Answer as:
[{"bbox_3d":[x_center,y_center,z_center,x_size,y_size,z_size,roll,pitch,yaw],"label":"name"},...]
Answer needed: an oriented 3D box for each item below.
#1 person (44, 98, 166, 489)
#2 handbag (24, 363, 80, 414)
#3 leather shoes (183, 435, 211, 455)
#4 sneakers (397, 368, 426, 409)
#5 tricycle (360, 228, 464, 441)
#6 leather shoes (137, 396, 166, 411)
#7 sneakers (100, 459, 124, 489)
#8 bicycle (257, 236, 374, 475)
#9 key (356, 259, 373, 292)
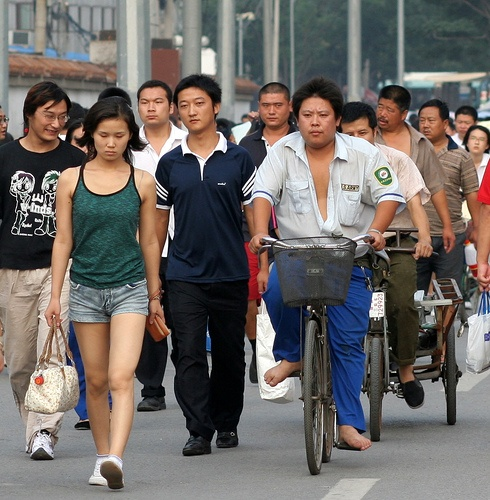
[{"bbox_3d":[-0.722,0.191,5.812,0.521,1.874,0.814,0,1,4],"label":"person"},{"bbox_3d":[-0.932,0.638,5.923,0.186,0.317,0.311,1,5,22],"label":"handbag"},{"bbox_3d":[-0.267,1.069,6.513,0.065,0.087,0.191,-2,-10,21],"label":"leather shoes"},{"bbox_3d":[1.027,0.844,7.347,0.139,0.119,0.397,-21,22,6],"label":"sneakers"},{"bbox_3d":[0.949,0.590,7.374,0.625,0.774,1.238,0,-7,13],"label":"tricycle"},{"bbox_3d":[-0.643,1.043,8.091,0.077,0.092,0.214,-2,-10,25],"label":"leather shoes"},{"bbox_3d":[-0.615,1.025,5.503,0.072,0.186,0.081,-3,50,7],"label":"sneakers"},{"bbox_3d":[0.373,0.523,5.974,0.536,1.193,0.581,0,1,5],"label":"bicycle"},{"bbox_3d":[0.631,0.133,6.354,0.115,0.162,0.056,-9,-2,-39],"label":"key"}]
